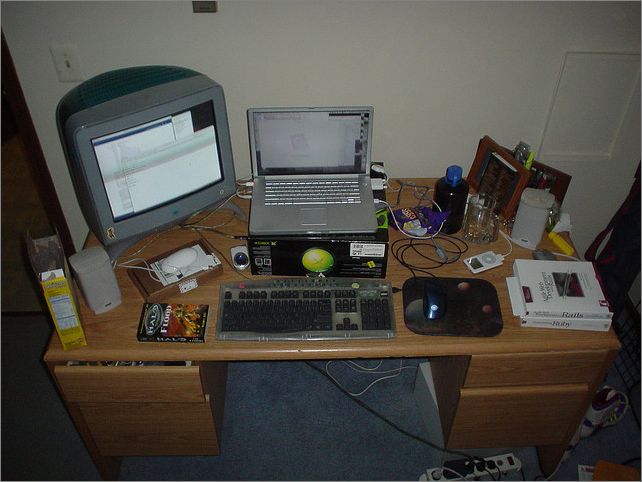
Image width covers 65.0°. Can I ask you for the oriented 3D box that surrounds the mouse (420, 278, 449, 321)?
[{"bbox_3d":[0.437,0.239,1.929,0.090,0.040,0.163,-1,26,16],"label":"mouse"}]

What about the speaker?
[{"bbox_3d":[-0.854,0.149,1.905,0.140,0.222,0.145,-14,37,-15],"label":"speaker"}]

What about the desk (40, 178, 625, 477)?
[{"bbox_3d":[0.080,0.896,2.541,2.303,1.233,0.956,-1,51,1],"label":"desk"}]

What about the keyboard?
[{"bbox_3d":[-0.057,0.259,1.917,0.667,0.107,0.236,0,33,-1],"label":"keyboard"}]

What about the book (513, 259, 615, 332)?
[{"bbox_3d":[0.913,0.207,1.953,0.355,0.146,0.244,1,33,1],"label":"book"}]

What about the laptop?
[{"bbox_3d":[-0.033,-0.291,1.994,0.519,0.321,0.444,1,39,1],"label":"laptop"}]

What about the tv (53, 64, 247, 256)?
[{"bbox_3d":[-0.756,-0.350,2.132,0.498,0.640,0.650,31,48,30],"label":"tv"}]

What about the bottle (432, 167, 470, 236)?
[{"bbox_3d":[0.572,-0.180,2.195,0.174,0.262,0.180,-2,32,1],"label":"bottle"}]
